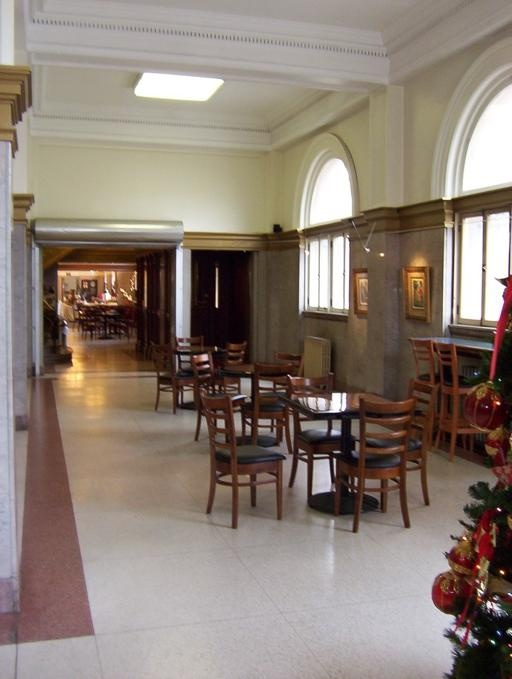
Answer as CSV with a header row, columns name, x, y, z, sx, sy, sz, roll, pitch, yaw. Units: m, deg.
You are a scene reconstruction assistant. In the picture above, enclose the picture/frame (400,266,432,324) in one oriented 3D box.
name,x,y,z,sx,sy,sz,roll,pitch,yaw
picture/frame,2.174,-0.617,7.394,0.074,0.892,0.698,-1,2,-15
